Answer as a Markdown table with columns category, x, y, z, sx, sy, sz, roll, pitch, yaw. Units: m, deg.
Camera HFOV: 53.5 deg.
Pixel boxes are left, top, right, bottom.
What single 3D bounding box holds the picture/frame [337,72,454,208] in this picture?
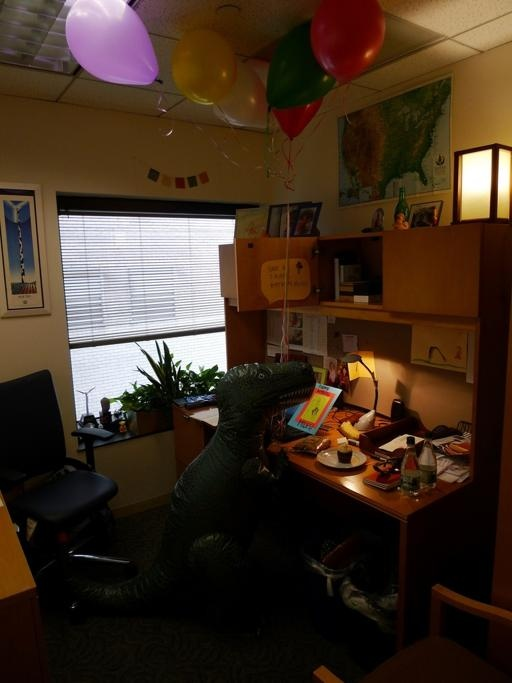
| category | x | y | z | sx | sy | sz | roll | pitch | yaw |
| --- | --- | --- | --- | --- | --- | --- | --- | --- | --- |
| picture/frame | 0.618 | -0.875 | 2.316 | 0.716 | 0.479 | 0.017 | -22 | 31 | -24 |

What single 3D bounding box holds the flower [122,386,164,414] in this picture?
| category | x | y | z | sx | sy | sz | roll | pitch | yaw |
| --- | --- | --- | --- | --- | --- | --- | --- | --- | --- |
| flower | -0.715 | 0.355 | 3.138 | 0.186 | 0.098 | 0.194 | -2 | 5 | -13 |

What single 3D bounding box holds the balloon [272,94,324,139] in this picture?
| category | x | y | z | sx | sy | sz | roll | pitch | yaw |
| --- | --- | --- | --- | --- | --- | --- | --- | --- | --- |
| balloon | 0.157 | -0.864 | 1.997 | 0.143 | 0.067 | 0.182 | -13 | 10 | -37 |

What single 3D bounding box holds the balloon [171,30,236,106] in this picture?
| category | x | y | z | sx | sy | sz | roll | pitch | yaw |
| --- | --- | --- | --- | --- | --- | --- | --- | --- | --- |
| balloon | -0.179 | -0.891 | 1.719 | 0.252 | 0.151 | 0.250 | -5 | 3 | 12 |

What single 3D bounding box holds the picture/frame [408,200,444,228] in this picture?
| category | x | y | z | sx | sy | sz | roll | pitch | yaw |
| --- | --- | --- | --- | --- | --- | --- | --- | --- | --- |
| picture/frame | 0.709 | -0.536 | 2.127 | 0.135 | 0.113 | 0.294 | 0 | 10 | 16 |

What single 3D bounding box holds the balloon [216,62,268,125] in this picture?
| category | x | y | z | sx | sy | sz | roll | pitch | yaw |
| --- | --- | --- | --- | --- | --- | --- | --- | --- | --- |
| balloon | -0.056 | -0.961 | 2.005 | 0.220 | 0.197 | 0.230 | -6 | 15 | -9 |

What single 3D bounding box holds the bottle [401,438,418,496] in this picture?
| category | x | y | z | sx | sy | sz | roll | pitch | yaw |
| --- | --- | --- | --- | --- | --- | --- | --- | --- | --- |
| bottle | 0.532 | 0.418 | 1.770 | 0.060 | 0.159 | 0.210 | 0 | 9 | 17 |

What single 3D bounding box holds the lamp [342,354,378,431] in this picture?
| category | x | y | z | sx | sy | sz | roll | pitch | yaw |
| --- | --- | --- | --- | --- | --- | --- | --- | --- | --- |
| lamp | 0.487 | 0.247 | 2.374 | 0.166 | 0.365 | 0.088 | 1 | -9 | 14 |
